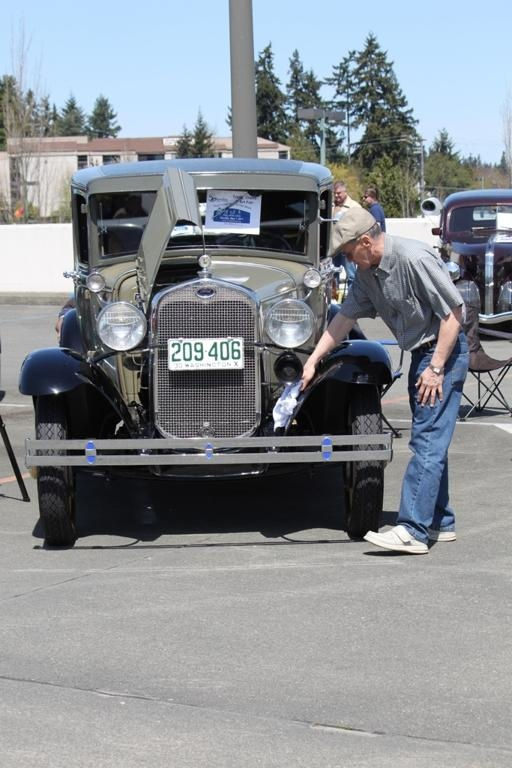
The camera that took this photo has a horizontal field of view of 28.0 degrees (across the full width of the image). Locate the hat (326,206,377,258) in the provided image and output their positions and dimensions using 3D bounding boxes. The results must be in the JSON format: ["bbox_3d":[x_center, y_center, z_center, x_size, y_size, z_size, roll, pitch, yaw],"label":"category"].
[{"bbox_3d":[0.425,-0.718,4.783,0.241,0.185,0.185,4,8,40],"label":"hat"}]

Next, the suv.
[{"bbox_3d":[-0.262,-0.377,6.128,1.596,1.391,2.784,-1,0,-1],"label":"suv"}]

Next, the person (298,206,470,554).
[{"bbox_3d":[0.653,-0.007,4.950,0.712,1.660,0.460,1,7,19],"label":"person"}]

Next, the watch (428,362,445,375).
[{"bbox_3d":[0.840,-0.070,4.747,0.059,0.023,0.056,32,-13,-12],"label":"watch"}]

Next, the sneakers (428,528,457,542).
[{"bbox_3d":[0.953,0.767,5.223,0.148,0.057,0.057,-3,6,7],"label":"sneakers"}]

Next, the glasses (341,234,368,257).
[{"bbox_3d":[0.466,-0.643,4.781,0.080,0.099,0.058,-2,17,-14],"label":"glasses"}]

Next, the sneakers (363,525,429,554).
[{"bbox_3d":[0.676,0.746,4.942,0.317,0.120,0.129,11,-5,-23],"label":"sneakers"}]
